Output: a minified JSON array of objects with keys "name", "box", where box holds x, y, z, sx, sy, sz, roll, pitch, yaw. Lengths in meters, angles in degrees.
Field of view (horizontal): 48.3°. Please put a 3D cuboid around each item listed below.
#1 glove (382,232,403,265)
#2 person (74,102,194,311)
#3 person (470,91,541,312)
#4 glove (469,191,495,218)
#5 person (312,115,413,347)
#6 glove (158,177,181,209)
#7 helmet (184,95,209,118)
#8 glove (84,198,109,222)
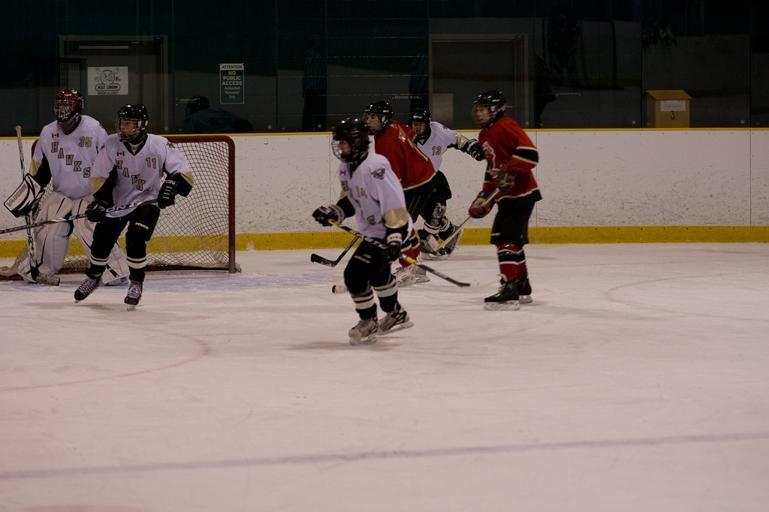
[{"name":"glove","box":[0.053,-0.045,5.000,0.130,0.150,0.060,8,-15,-3]},{"name":"person","box":[-1.814,-0.284,6.215,0.730,1.253,0.463,3,7,7]},{"name":"person","box":[0.877,-0.422,6.170,0.482,1.530,0.604,1,7,-5]},{"name":"glove","box":[0.703,-0.377,6.288,0.153,0.198,0.073,34,-39,-17]},{"name":"person","box":[-0.125,-0.156,5.127,0.579,1.299,0.454,3,7,7]},{"name":"glove","box":[-1.538,-0.463,6.167,0.103,0.224,0.187,36,-17,-35]},{"name":"helmet","box":[-2.124,-1.700,9.661,0.269,0.230,0.212,7,9,16]},{"name":"glove","box":[-2.064,-0.322,6.215,0.163,0.151,0.164,14,14,-35]}]
